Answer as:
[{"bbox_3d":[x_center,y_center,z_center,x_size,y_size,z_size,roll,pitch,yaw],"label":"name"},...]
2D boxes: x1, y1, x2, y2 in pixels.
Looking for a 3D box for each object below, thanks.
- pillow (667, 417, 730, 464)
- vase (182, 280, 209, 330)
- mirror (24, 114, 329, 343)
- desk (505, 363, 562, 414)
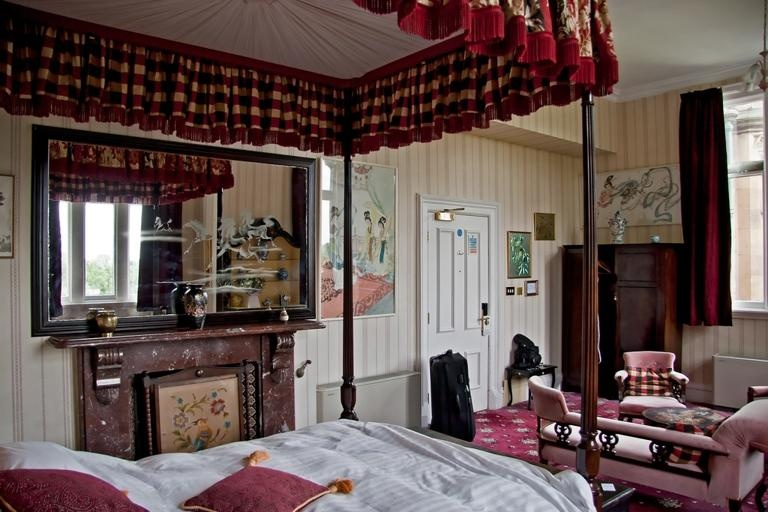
[{"bbox_3d":[2.500,1.470,4.508,0.328,0.304,0.493,7,7,33],"label":"pillow"},{"bbox_3d":[-1.556,0.423,4.606,0.183,0.325,0.134,4,5,11],"label":"vase"},{"bbox_3d":[-1.772,-0.229,4.566,1.852,1.267,0.086,1,-3,-39],"label":"mirror"},{"bbox_3d":[1.875,1.760,7.185,0.561,0.669,0.767,-4,-5,43],"label":"desk"}]
